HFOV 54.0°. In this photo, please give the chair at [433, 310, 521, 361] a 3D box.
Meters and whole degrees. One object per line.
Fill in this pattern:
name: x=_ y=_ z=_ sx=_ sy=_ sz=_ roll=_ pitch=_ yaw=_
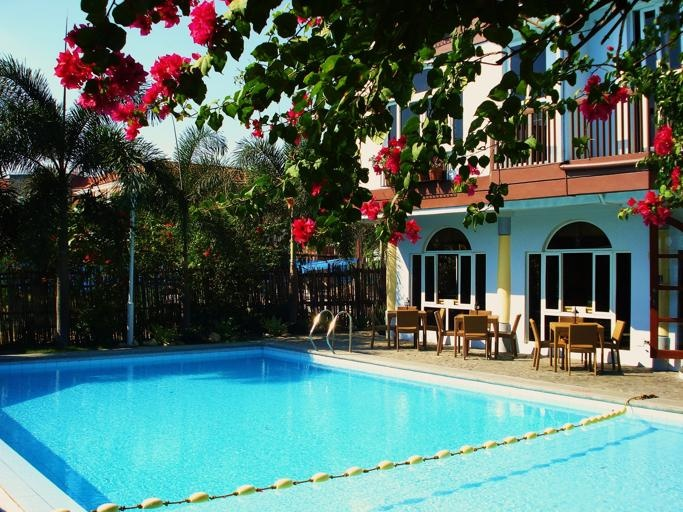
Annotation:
chair: x=3.041 y=1.748 z=15.277 sx=1.161 sy=0.766 sz=1.302 roll=0 pitch=0 yaw=17
